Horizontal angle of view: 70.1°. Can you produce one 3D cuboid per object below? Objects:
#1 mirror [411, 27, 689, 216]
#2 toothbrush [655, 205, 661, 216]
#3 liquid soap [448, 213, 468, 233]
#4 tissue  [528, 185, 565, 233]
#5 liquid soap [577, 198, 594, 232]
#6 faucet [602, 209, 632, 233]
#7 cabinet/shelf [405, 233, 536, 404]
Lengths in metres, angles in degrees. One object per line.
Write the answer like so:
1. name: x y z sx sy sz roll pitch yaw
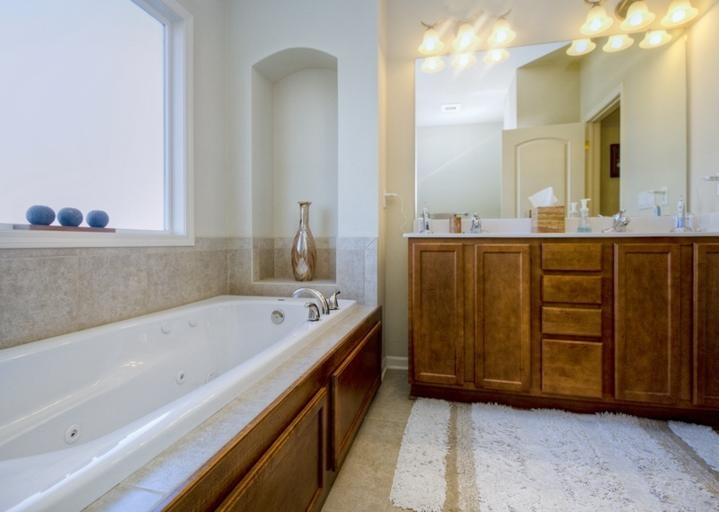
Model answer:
1. mirror: 1.526 -1.041 3.894 1.446 1.101 0.102 -1 0 17
2. toothbrush: 2.161 -0.325 3.715 0.042 0.067 0.015 -2 3 16
3. liquid soap: 0.753 -0.258 3.980 0.143 0.152 0.255 -2 3 19
4. tissue : 1.367 -0.341 3.742 0.258 0.338 0.432 -2 3 21
5. liquid soap: 1.643 -0.304 3.768 0.092 0.250 0.247 -1 3 24
6. faucet: 1.876 -0.254 3.710 0.172 0.147 0.214 -2 3 18
7. cabinet/shelf: 0.784 0.371 3.693 0.874 1.111 0.516 1 12 18
